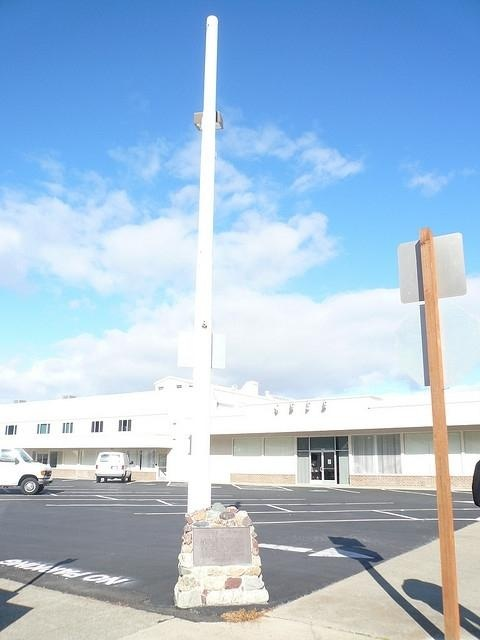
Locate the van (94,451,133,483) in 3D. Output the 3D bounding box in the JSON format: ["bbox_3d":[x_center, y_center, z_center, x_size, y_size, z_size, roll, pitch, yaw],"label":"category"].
[{"bbox_3d":[-9.505,11.236,38.474,2.154,2.266,2.616,0,-11,-4],"label":"van"}]
